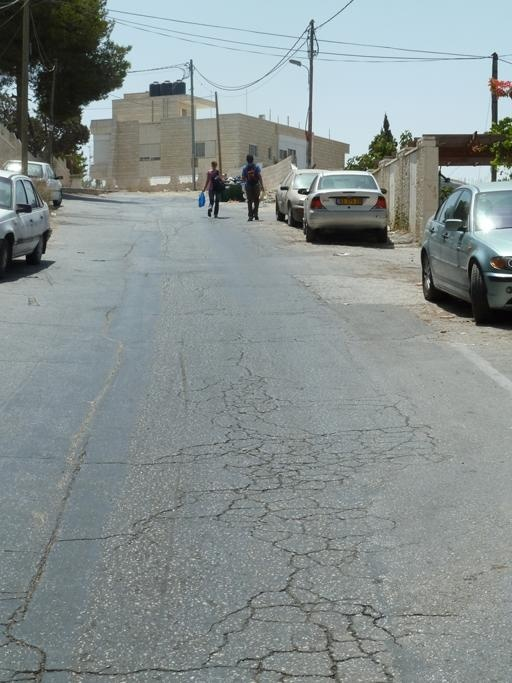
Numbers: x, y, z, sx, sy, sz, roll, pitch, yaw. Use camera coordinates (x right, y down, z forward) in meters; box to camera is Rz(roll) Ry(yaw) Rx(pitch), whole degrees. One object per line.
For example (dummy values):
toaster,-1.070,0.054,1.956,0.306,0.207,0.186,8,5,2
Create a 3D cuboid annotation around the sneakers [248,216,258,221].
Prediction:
sneakers,-0.074,-4.745,25.676,0.209,0.153,0.299,-16,-1,41
